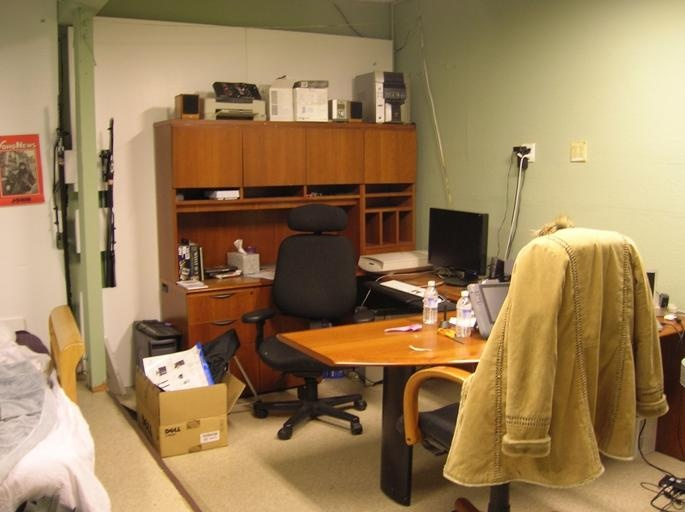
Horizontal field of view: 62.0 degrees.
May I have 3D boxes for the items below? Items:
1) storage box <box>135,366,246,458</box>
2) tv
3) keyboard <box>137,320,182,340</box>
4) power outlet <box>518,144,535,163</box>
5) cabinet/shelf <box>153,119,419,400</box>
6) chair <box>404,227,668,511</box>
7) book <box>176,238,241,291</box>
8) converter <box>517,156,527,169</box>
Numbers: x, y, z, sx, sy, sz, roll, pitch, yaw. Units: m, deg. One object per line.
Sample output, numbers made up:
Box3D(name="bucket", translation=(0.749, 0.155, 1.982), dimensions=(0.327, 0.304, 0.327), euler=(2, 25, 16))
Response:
Box3D(name="storage box", translation=(-1.005, 1.030, 3.762), dimensions=(0.574, 0.373, 0.571), euler=(0, 4, -29))
Box3D(name="tv", translation=(0.894, -0.065, 4.377), dimensions=(0.214, 0.528, 0.587), euler=(-4, 6, -31))
Box3D(name="keyboard", translation=(-1.439, 0.568, 4.431), dimensions=(0.172, 0.055, 0.283), euler=(-1, 8, -30))
Box3D(name="power outlet", translation=(1.361, -0.768, 4.232), dimensions=(0.030, 0.119, 0.127), euler=(1, 6, -40))
Box3D(name="cabinet/shelf", translation=(-0.516, 0.027, 4.284), dimensions=(2.156, 2.095, 0.693), euler=(-3, 8, -27))
Box3D(name="chair", translation=(0.967, 0.389, 2.643), dimensions=(1.144, 1.431, 0.935), euler=(-2, 5, -32))
Box3D(name="book", translation=(-1.074, 0.050, 4.501), dimensions=(0.406, 0.259, 0.398), euler=(-1, 4, -31))
Box3D(name="converter", translation=(1.360, -0.703, 4.300), dimensions=(0.074, 0.129, 0.071), euler=(11, 18, 34))
